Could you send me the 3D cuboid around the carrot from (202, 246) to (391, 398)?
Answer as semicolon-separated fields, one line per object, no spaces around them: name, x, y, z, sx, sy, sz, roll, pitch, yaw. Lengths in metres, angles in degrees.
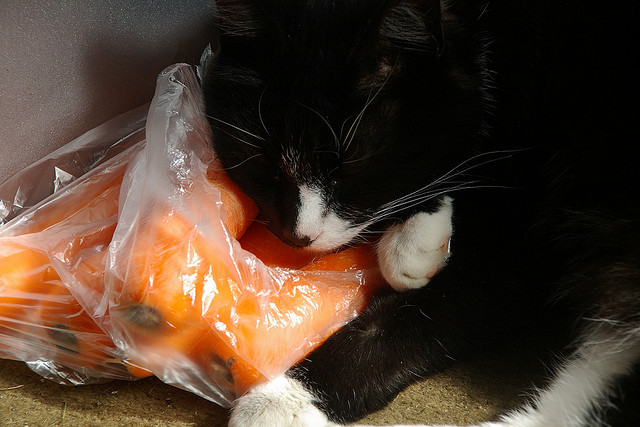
carrot;-0.042;0.194;1.274;0.394;0.121;0.193;-31;15;-19

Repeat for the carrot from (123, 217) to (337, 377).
carrot;-0.179;0.166;1.178;0.428;0.097;0.123;-30;83;-32

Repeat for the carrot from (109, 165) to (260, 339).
carrot;-0.246;0.075;1.260;0.187;0.129;0.351;31;72;10
